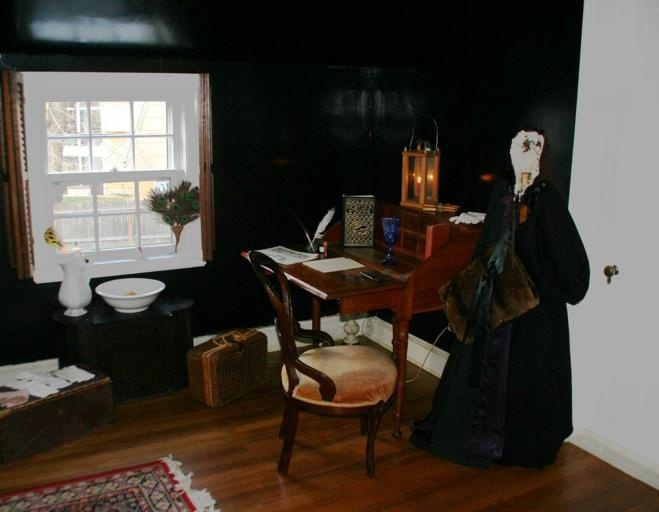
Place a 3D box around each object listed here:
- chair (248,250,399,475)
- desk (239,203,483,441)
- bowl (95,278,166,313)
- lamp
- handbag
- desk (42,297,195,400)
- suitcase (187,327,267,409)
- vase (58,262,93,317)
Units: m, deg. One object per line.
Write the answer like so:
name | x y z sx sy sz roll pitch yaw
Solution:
chair | 0.002 0.553 3.024 0.831 1.046 0.673 2 9 -1
desk | 0.164 0.331 3.716 1.096 1.201 1.289 -5 14 -23
bowl | -1.330 0.236 3.639 0.287 0.104 0.296 1 7 0
lamp | 0.611 -0.641 3.694 0.258 0.586 0.600 0 14 9
handbag | 0.793 0.056 2.912 0.213 0.679 0.509 9 -25 -10
desk | -1.367 0.655 3.655 0.778 0.517 0.410 -2 -3 -37
suitcase | -0.672 0.728 3.713 0.293 0.373 0.545 3 13 37
vase | -1.655 0.190 3.559 0.189 0.349 0.285 -8 15 -24
